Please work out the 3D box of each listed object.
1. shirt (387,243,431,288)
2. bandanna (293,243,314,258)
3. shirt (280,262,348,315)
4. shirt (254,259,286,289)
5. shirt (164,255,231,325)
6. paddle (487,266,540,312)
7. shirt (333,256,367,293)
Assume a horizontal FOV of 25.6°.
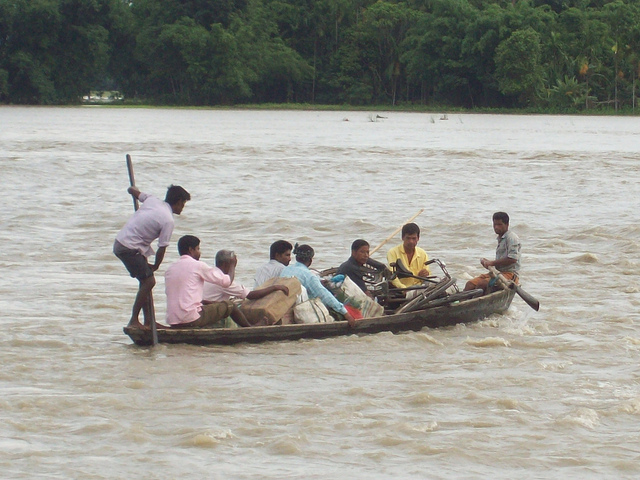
[{"bbox_3d":[2.187,0.602,34.488,1.123,1.074,0.873,4,5,-8],"label":"shirt"},{"bbox_3d":[-0.421,0.254,34.318,0.475,0.181,0.541,1,5,2],"label":"bandanna"},{"bbox_3d":[-0.066,1.140,33.432,1.516,0.547,1.160,29,23,-10],"label":"shirt"},{"bbox_3d":[-1.180,0.833,33.649,0.430,0.733,0.640,34,-28,-35],"label":"shirt"},{"bbox_3d":[-2.960,1.171,33.061,1.293,1.625,0.479,-1,16,-6],"label":"shirt"},{"bbox_3d":[4.648,1.141,34.052,0.260,0.375,2.450,-9,23,-19],"label":"paddle"},{"bbox_3d":[0.728,0.840,33.705,0.469,0.615,0.733,9,18,-48],"label":"shirt"}]
